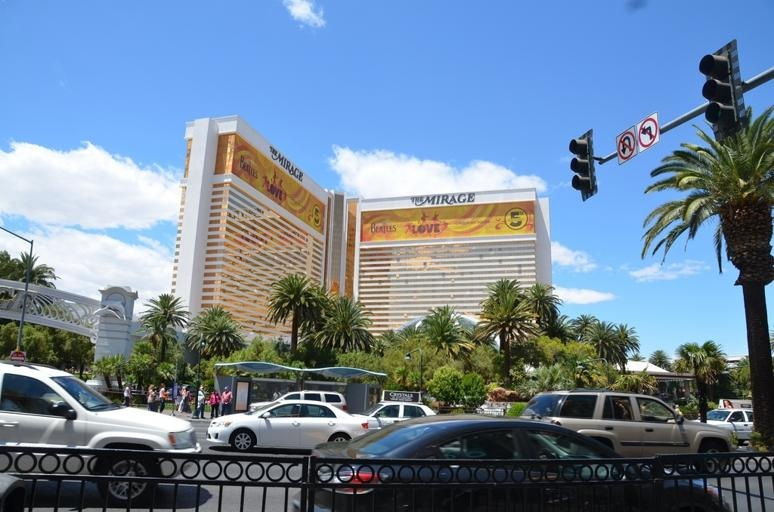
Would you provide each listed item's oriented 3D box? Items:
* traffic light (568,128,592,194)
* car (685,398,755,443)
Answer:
[{"bbox_3d":[4.263,-1.989,12.326,0.505,1.415,0.744,-7,-23,18],"label":"traffic light"},{"bbox_3d":[18.639,9.064,30.784,3.971,2.056,2.037,-2,-12,-15],"label":"car"}]
